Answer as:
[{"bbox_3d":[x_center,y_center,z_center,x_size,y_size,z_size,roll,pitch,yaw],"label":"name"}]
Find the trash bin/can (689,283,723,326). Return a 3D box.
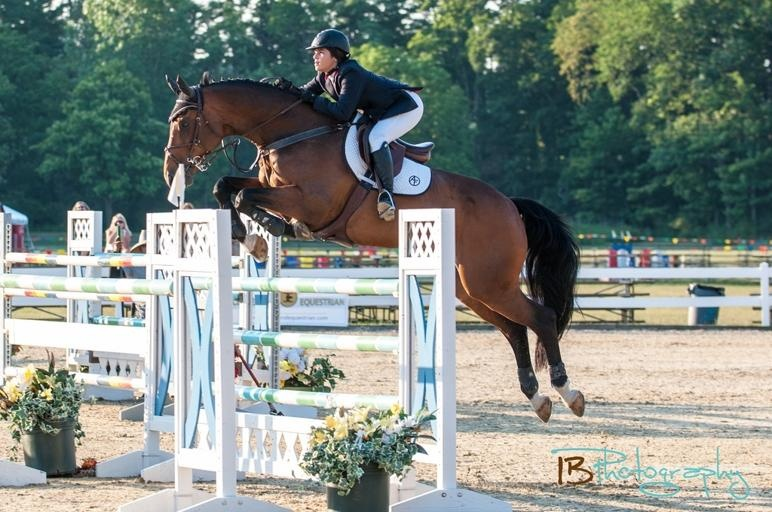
[{"bbox_3d":[11.214,1.749,62.836,0.981,1.558,1.724,6,3,44],"label":"trash bin/can"}]
